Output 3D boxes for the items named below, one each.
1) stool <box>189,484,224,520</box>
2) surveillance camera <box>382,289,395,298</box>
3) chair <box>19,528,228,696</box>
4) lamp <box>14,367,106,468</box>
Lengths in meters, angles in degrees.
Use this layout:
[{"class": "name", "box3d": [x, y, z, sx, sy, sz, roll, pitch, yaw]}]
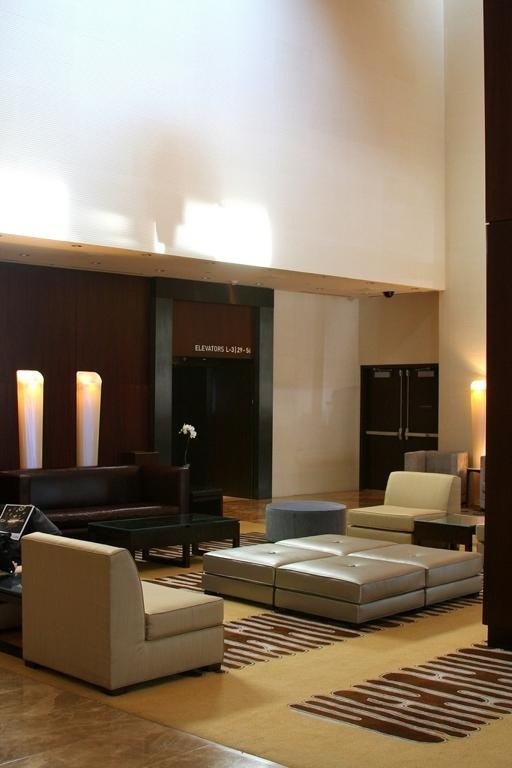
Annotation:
[{"class": "stool", "box3d": [-0.621, 1.434, 7.666, 0.404, 0.449, 0.292, 0, 0, -40]}, {"class": "surveillance camera", "box3d": [2.533, -1.701, 11.900, 0.152, 0.121, 0.164, -3, 4, -41]}, {"class": "chair", "box3d": [-0.663, 1.037, 3.050, 0.718, 0.694, 0.669, -3, -4, 35]}, {"class": "lamp", "box3d": [-2.601, 0.444, 8.188, 1.159, 1.725, 0.404, 2, -5, -41]}]
